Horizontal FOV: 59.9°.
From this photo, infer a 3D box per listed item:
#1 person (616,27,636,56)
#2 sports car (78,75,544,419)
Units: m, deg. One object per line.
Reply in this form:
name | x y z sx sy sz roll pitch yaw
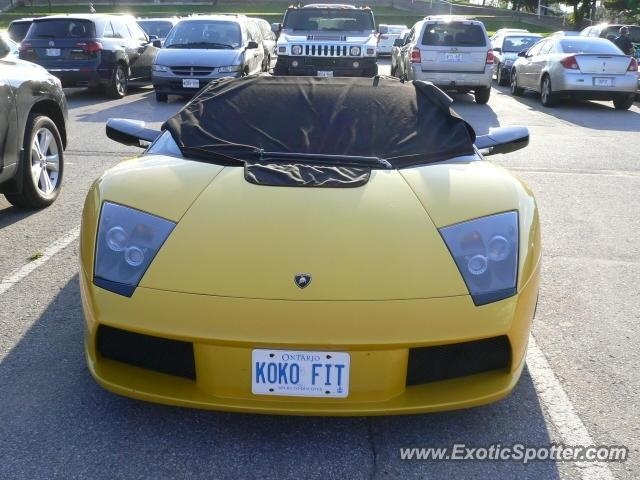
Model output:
person | 9.480 -6.129 17.152 0.601 0.684 1.638 15 32 25
sports car | -0.061 -0.049 3.050 2.320 0.940 1.797 1 29 1
